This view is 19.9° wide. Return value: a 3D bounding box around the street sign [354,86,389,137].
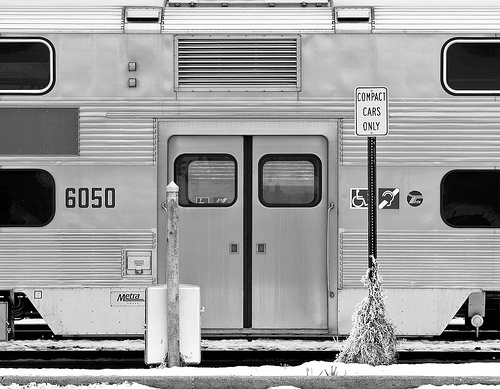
[{"bbox_3d":[1.626,-1.113,19.116,0.670,0.907,0.093,0,-1,5],"label":"street sign"}]
